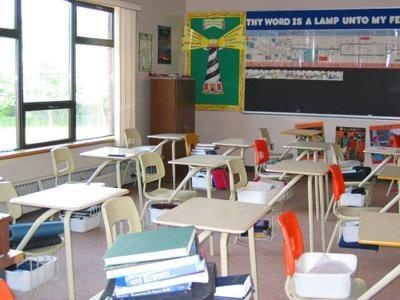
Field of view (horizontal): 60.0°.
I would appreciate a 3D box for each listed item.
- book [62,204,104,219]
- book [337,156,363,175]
[{"bbox_3d":[-1.500,0.817,4.607,0.312,0.147,0.468,3,6,28],"label":"book"},{"bbox_3d":[2.330,0.248,5.461,0.300,0.116,0.400,2,9,21],"label":"book"}]
